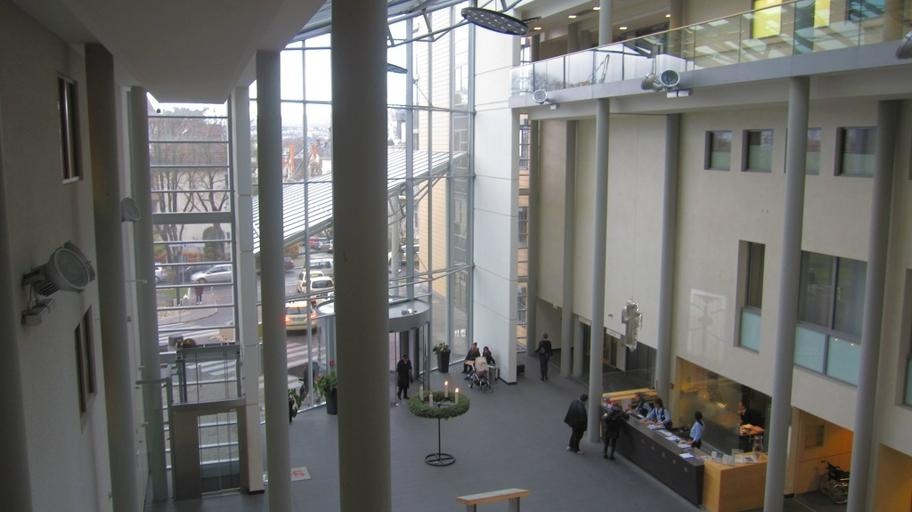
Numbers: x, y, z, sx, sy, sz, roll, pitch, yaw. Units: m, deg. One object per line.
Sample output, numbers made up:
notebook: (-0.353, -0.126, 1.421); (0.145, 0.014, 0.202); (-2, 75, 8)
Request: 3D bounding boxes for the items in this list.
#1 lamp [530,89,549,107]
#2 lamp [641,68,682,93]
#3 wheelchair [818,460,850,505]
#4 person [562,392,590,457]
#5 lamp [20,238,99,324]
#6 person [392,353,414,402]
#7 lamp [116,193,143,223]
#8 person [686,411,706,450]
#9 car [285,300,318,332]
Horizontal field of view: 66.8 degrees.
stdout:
lamp: (2.802, -5.175, 22.438); (0.529, 0.548, 0.719); (-4, 7, 7)
lamp: (5.460, -4.654, 18.465); (0.435, 0.579, 1.019); (-10, 9, -35)
wheelchair: (10.404, 6.209, 19.044); (1.067, 0.947, 0.761); (-1, 2, -9)
person: (3.663, 4.934, 20.993); (0.678, 1.579, 1.226); (-4, 8, 9)
lamp: (-6.448, 0.466, 10.996); (1.065, 0.841, 0.644); (-40, 10, 16)
person: (-1.846, 4.091, 23.955); (0.580, 1.472, 0.982); (-6, 8, -8)
lamp: (-7.389, -1.073, 15.672); (0.370, 0.520, 0.460); (-8, 8, -20)
person: (6.793, 4.976, 19.670); (0.365, 1.151, 1.358); (-2, 8, 17)
car: (-5.065, 1.967, 22.714); (0.979, 0.705, 1.630); (-2, 12, -8)
